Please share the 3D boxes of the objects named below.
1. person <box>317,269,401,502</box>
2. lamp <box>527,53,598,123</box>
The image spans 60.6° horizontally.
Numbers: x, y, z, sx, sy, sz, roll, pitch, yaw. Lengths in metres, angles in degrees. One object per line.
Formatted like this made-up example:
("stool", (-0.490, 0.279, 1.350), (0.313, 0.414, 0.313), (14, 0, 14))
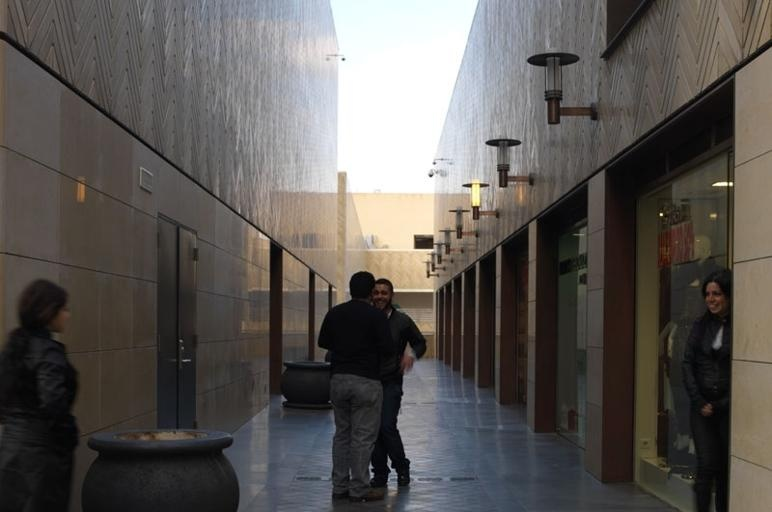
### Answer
("person", (-0.337, 1.398, 7.200), (0.769, 2.442, 0.369), (0, -9, 4))
("lamp", (2.190, -2.085, 8.197), (0.746, 0.965, 0.628), (0, -6, 16))
